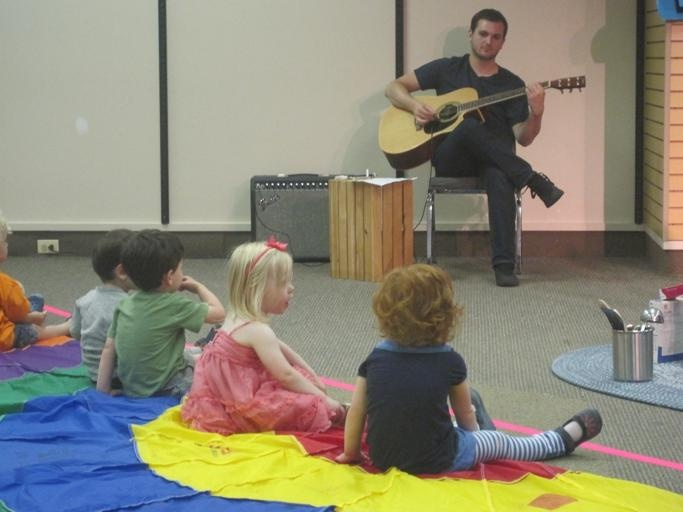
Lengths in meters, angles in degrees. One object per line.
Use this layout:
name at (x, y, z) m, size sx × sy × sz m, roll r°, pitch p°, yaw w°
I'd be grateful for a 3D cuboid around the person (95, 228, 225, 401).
person at (-0.728, 0.293, 2.956) m, size 0.356 × 0.852 × 0.383 m, roll 11°, pitch 11°, yaw 43°

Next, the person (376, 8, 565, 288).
person at (0.886, -0.715, 4.785) m, size 1.049 × 1.765 × 0.524 m, roll 0°, pitch 4°, yaw 19°

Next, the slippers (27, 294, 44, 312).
slippers at (-1.556, 0.239, 3.737) m, size 0.066 × 0.053 × 0.117 m, roll 0°, pitch 3°, yaw -14°

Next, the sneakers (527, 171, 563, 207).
sneakers at (1.372, -0.450, 4.925) m, size 0.122 × 0.277 × 0.095 m, roll -33°, pitch -16°, yaw -29°

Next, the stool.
stool at (0.900, -0.100, 4.988) m, size 0.668 × 0.783 × 0.598 m, roll 1°, pitch -2°, yaw 4°

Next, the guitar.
guitar at (0.861, -0.772, 4.919) m, size 1.448 × 0.663 × 0.218 m, roll -15°, pitch -33°, yaw 31°

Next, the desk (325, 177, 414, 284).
desk at (0.202, -0.205, 4.913) m, size 0.484 × 0.674 × 0.543 m, roll -4°, pitch 16°, yaw -2°

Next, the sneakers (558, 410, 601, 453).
sneakers at (0.815, 0.589, 2.540) m, size 0.169 × 0.108 × 0.075 m, roll -38°, pitch -23°, yaw 3°

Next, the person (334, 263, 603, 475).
person at (0.432, 0.375, 2.638) m, size 0.767 × 0.704 × 0.704 m, roll 0°, pitch -2°, yaw -20°

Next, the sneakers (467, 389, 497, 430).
sneakers at (0.469, 0.528, 2.498) m, size 0.049 × 0.142 × 0.097 m, roll -22°, pitch 5°, yaw -7°

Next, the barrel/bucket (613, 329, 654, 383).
barrel/bucket at (1.219, 0.418, 3.078) m, size 0.166 × 0.211 × 0.168 m, roll 0°, pitch -3°, yaw 0°
